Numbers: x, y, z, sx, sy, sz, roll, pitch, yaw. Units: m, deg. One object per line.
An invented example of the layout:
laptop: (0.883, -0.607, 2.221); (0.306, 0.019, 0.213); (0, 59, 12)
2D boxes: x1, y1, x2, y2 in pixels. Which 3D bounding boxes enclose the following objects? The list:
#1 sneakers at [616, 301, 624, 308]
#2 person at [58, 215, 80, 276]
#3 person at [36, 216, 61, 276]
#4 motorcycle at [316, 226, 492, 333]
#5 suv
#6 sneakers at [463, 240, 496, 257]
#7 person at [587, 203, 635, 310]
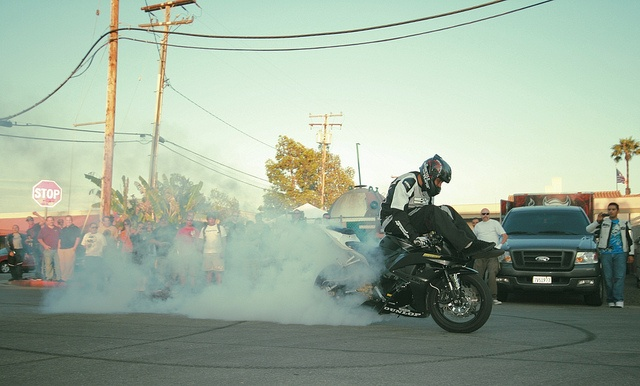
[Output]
sneakers: (6.975, 2.607, 13.437); (0.109, 0.116, 0.315); (-5, -14, 25)
person: (-7.871, 1.719, 17.987); (0.636, 1.926, 0.884); (-1, 6, -12)
person: (-8.493, 1.758, 18.137); (0.734, 1.920, 0.548); (5, 7, 38)
motorcycle: (1.339, 1.497, 10.802); (3.597, 1.718, 1.152); (0, -8, 38)
suv: (5.538, 1.417, 14.008); (1.946, 1.663, 3.518); (-2, -11, 17)
sneakers: (2.739, 0.971, 9.971); (0.434, 0.151, 0.291); (-5, 11, 14)
person: (6.897, 1.491, 13.756); (0.860, 2.480, 1.311); (3, 6, 26)
